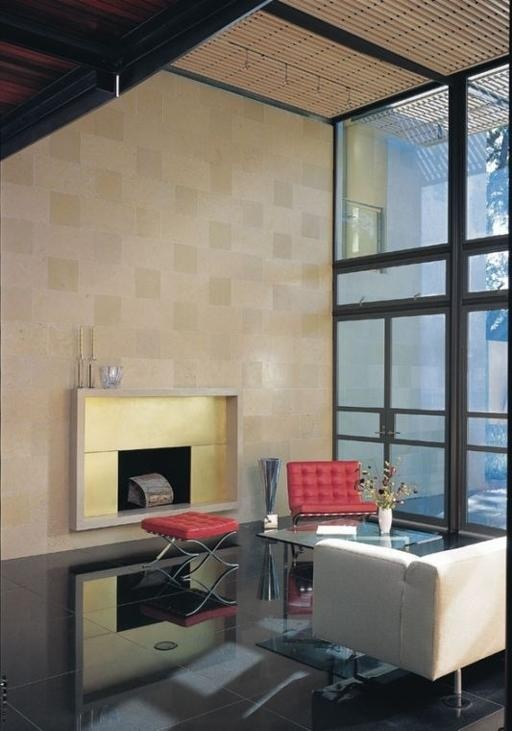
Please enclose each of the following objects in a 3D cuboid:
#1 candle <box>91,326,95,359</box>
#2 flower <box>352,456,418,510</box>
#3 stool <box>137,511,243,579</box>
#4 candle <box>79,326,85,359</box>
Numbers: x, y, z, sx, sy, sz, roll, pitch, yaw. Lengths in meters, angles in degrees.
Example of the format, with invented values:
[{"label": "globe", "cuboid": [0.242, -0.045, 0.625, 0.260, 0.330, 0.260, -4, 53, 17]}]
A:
[{"label": "candle", "cuboid": [-1.587, -0.210, 6.947, 0.014, 0.305, 0.051, -1, -3, 31]}, {"label": "flower", "cuboid": [1.119, 1.054, 6.085, 0.321, 0.450, 0.282, 13, 16, 11]}, {"label": "stool", "cuboid": [-0.577, 1.456, 6.033, 0.781, 0.312, 0.765, 2, -1, -12]}, {"label": "candle", "cuboid": [-1.679, -0.211, 6.852, 0.013, 0.297, 0.062, -2, -3, 35]}]
